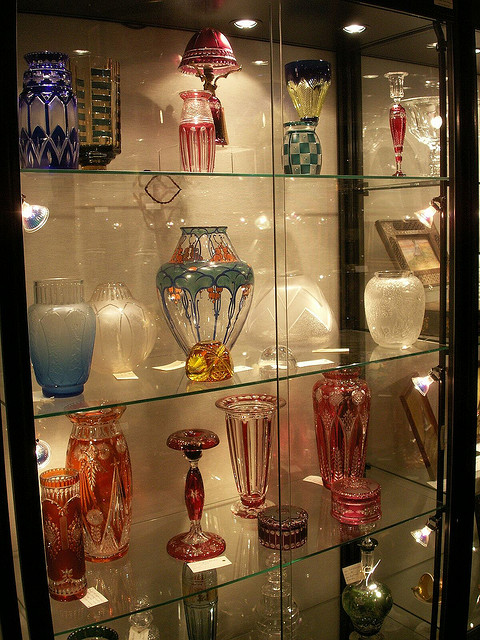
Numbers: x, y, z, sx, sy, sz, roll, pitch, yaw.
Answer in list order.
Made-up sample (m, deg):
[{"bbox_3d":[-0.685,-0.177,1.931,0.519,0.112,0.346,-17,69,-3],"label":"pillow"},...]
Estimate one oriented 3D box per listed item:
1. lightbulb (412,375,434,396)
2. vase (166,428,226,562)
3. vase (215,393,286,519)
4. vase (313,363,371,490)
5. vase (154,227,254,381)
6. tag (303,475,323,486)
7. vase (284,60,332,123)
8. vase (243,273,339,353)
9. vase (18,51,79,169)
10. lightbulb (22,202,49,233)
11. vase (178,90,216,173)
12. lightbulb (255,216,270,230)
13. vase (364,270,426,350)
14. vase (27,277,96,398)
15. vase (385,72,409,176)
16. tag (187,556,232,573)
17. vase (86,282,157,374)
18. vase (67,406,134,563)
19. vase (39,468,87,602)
[{"bbox_3d":[0.477,0.168,1.322,0.036,0.044,0.070,34,-22,3],"label":"lightbulb"},{"bbox_3d":[-0.090,0.346,1.033,0.112,0.237,0.168,-3,10,8],"label":"vase"},{"bbox_3d":[0.028,0.304,1.129,0.121,0.238,0.131,-2,-7,-11],"label":"vase"},{"bbox_3d":[0.261,0.268,1.278,0.142,0.298,0.072,-3,10,8],"label":"vase"},{"bbox_3d":[-0.075,-0.063,1.144,0.220,0.428,0.251,-2,10,-10],"label":"vase"},{"bbox_3d":[0.182,0.401,1.262,0.003,0.027,0.061,-10,-18,36],"label":"tag"},{"bbox_3d":[0.154,-0.506,1.148,0.087,0.122,0.091,0,6,30],"label":"vase"},{"bbox_3d":[0.098,-0.002,1.156,0.223,0.186,0.220,2,-6,-45],"label":"vase"},{"bbox_3d":[-0.281,-0.302,0.741,0.100,0.160,0.062,-11,12,-33],"label":"vase"},{"bbox_3d":[-0.343,-0.171,0.848,0.028,0.046,0.097,-6,11,-6],"label":"lightbulb"},{"bbox_3d":[-0.080,-0.357,0.956,0.069,0.165,0.095,-5,10,-5],"label":"vase"},{"bbox_3d":[0.054,-0.226,1.184,0.025,0.031,0.015,9,12,6],"label":"lightbulb"},{"bbox_3d":[0.384,-0.029,1.347,0.157,0.237,0.159,-10,13,-29],"label":"vase"},{"bbox_3d":[-0.277,0.026,0.784,0.120,0.185,0.131,3,6,23],"label":"vase"},{"bbox_3d":[0.407,-0.507,1.309,0.046,0.250,0.040,-7,10,-13],"label":"vase"},{"bbox_3d":[-0.059,0.472,0.979,0.054,0.004,0.020,-3,23,-30],"label":"tag"},{"bbox_3d":[-0.223,0.019,0.916,0.131,0.173,0.122,-6,2,42],"label":"vase"},{"bbox_3d":[-0.251,0.287,0.914,0.111,0.279,0.121,-2,4,-14],"label":"vase"},{"bbox_3d":[-0.279,0.341,0.811,0.059,0.219,0.083,-7,10,-14],"label":"vase"}]
